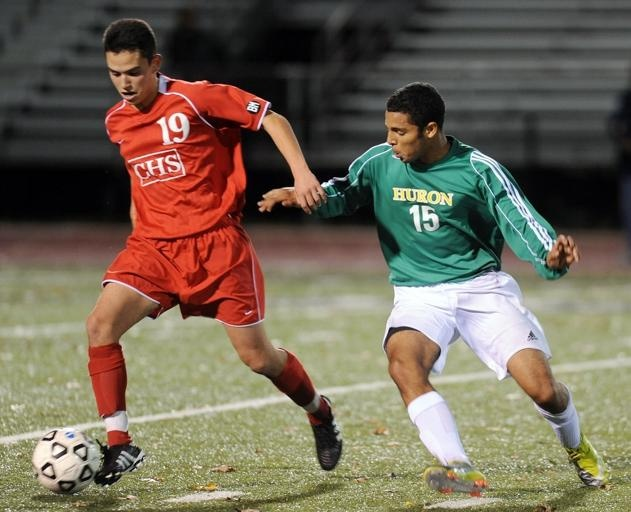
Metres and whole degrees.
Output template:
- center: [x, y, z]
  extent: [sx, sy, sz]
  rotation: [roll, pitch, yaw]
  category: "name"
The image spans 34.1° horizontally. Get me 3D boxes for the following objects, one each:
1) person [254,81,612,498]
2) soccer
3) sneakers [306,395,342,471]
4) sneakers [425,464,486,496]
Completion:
- center: [0.784, 0.182, 5.420]
  extent: [1.040, 2.101, 1.430]
  rotation: [-12, 20, -20]
  category: "person"
- center: [-1.302, 1.082, 5.457]
  extent: [0.364, 0.295, 0.312]
  rotation: [0, -7, -12]
  category: "soccer"
- center: [0.061, 1.014, 5.871]
  extent: [0.158, 0.398, 0.187]
  rotation: [-20, -24, 16]
  category: "sneakers"
- center: [0.663, 1.058, 4.915]
  extent: [0.256, 0.129, 0.124]
  rotation: [11, 22, 17]
  category: "sneakers"
